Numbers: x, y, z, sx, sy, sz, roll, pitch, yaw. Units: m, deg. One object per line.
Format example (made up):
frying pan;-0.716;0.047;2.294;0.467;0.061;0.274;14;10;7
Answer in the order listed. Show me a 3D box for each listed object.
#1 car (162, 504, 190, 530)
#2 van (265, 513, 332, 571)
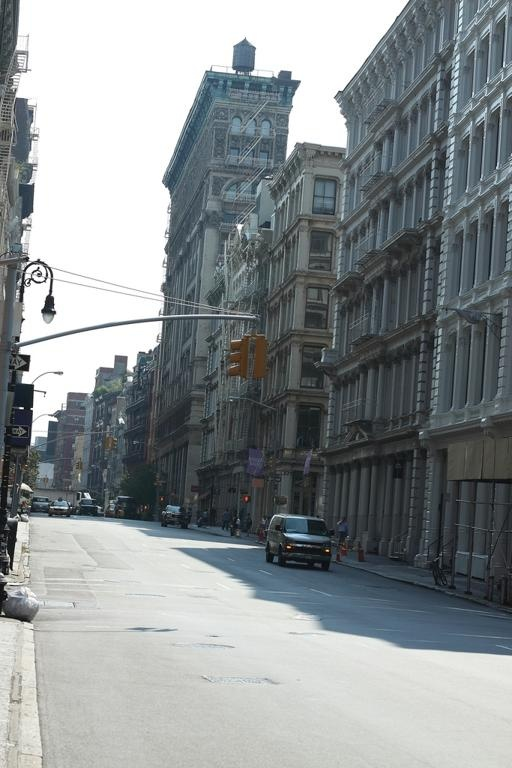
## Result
car;-7.844;12.558;78.227;1.823;1.452;3.086;1;-12;-13
van;1.754;6.780;35.246;1.890;1.677;3.355;3;-11;-15
